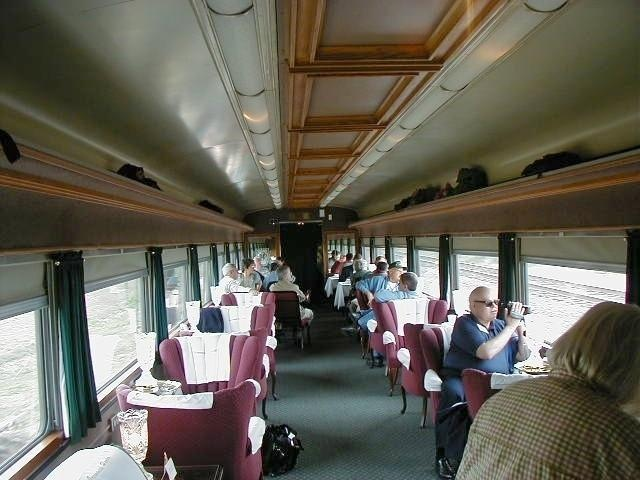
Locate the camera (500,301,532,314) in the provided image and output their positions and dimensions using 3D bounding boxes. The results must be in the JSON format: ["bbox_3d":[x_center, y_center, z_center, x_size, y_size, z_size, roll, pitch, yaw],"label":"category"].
[{"bbox_3d":[2.297,0.791,4.734,0.318,0.089,0.325,4,12,30],"label":"camera"}]

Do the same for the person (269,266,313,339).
[{"bbox_3d":[-0.690,1.505,9.719,0.872,1.756,0.965,-9,1,10],"label":"person"}]

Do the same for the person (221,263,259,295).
[{"bbox_3d":[-1.812,0.922,9.196,0.259,0.796,0.666,-25,20,-37],"label":"person"}]

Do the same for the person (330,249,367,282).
[{"bbox_3d":[0.954,0.906,13.899,1.083,0.688,1.909,0,-3,4],"label":"person"}]

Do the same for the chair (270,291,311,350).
[{"bbox_3d":[-0.672,1.862,9.514,0.710,1.359,0.914,-2,2,9],"label":"chair"}]

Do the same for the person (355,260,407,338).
[{"bbox_3d":[1.409,1.297,8.730,0.814,1.839,0.920,1,11,-27],"label":"person"}]

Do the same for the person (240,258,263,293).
[{"bbox_3d":[-1.716,0.937,9.694,0.639,0.915,0.516,0,8,-26],"label":"person"}]

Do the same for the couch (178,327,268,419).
[{"bbox_3d":[-1.029,1.549,4.902,1.038,1.041,0.951,-5,-32,-3],"label":"couch"}]

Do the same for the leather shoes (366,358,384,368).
[{"bbox_3d":[1.072,2.415,7.885,0.290,0.199,0.155,3,-28,12],"label":"leather shoes"}]

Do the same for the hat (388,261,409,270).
[{"bbox_3d":[1.909,0.638,9.595,0.555,0.206,0.385,5,-3,-33],"label":"hat"}]

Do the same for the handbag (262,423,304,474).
[{"bbox_3d":[-0.432,2.406,4.678,0.451,0.364,0.501,-2,2,-5],"label":"handbag"}]
